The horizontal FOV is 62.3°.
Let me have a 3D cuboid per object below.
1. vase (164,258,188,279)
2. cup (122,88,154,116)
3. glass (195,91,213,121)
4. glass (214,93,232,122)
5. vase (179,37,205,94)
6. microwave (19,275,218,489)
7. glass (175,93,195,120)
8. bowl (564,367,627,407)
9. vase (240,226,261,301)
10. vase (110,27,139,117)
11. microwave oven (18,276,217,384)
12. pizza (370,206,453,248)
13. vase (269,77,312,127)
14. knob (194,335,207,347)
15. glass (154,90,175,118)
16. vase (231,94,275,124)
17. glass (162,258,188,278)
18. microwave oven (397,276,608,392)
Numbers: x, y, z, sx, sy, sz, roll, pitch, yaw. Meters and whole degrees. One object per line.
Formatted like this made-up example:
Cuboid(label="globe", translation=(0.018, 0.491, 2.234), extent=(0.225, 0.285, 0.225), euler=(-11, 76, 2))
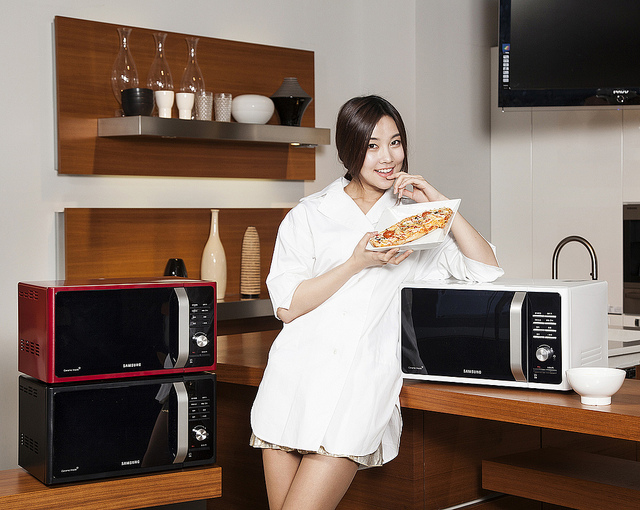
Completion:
Cuboid(label="vase", translation=(-0.836, 0.076, 3.129), extent=(0.147, 0.155, 0.149), euler=(0, 0, 25))
Cuboid(label="cup", translation=(-0.987, -0.825, 2.847), extent=(0.148, 0.121, 0.150), euler=(0, 5, 0))
Cuboid(label="glass", translation=(-0.684, -0.874, 3.129), extent=(0.071, 0.166, 0.139), euler=(2, 5, 32))
Cuboid(label="glass", translation=(-0.592, -0.901, 3.217), extent=(0.116, 0.196, 0.131), euler=(-3, 5, -30))
Cuboid(label="vase", translation=(-0.760, -1.121, 3.116), extent=(0.129, 0.363, 0.168), euler=(-2, 4, -14))
Cuboid(label="microwave", translation=(-0.475, 0.283, 1.361), extent=(0.385, 0.472, 0.270), euler=(0, 7, -18))
Cuboid(label="glass", translation=(-0.778, -0.855, 3.038), extent=(0.090, 0.139, 0.056), euler=(-3, 5, -23))
Cuboid(label="bowl", translation=(0.626, 0.298, 1.200), extent=(0.122, 0.075, 0.128), euler=(-1, -4, 0))
Cuboid(label="vase", translation=(-0.456, 0.046, 3.395), extent=(0.118, 0.446, 0.118), euler=(-2, 4, -10))
Cuboid(label="vase", translation=(-1.106, -1.014, 2.960), extent=(0.145, 0.513, 0.197), euler=(-3, 5, -22))
Cuboid(label="microwave oven", translation=(-0.477, 0.157, 1.251), extent=(0.382, 0.226, 0.240), euler=(0, -1, -37))
Cuboid(label="pizza", translation=(0.248, -0.073, 1.378), extent=(0.234, 0.097, 0.135), euler=(-3, 5, -28))
Cuboid(label="vase", translation=(-0.198, -0.977, 3.414), extent=(0.252, 0.300, 0.272), euler=(1, 3, 1))
Cuboid(label="knob", translation=(-0.303, 0.214, 1.325), extent=(0.027, 0.029, 0.008), euler=(6, 7, -36))
Cuboid(label="glass", translation=(-0.888, -0.857, 2.995), extent=(0.099, 0.151, 0.098), euler=(-4, 5, -32))
Cuboid(label="vase", translation=(-0.425, -0.869, 3.271), extent=(0.191, 0.141, 0.199), euler=(5, 10, 34))
Cuboid(label="glass", translation=(-0.841, 0.073, 3.028), extent=(0.121, 0.128, 0.106), euler=(0, 1, 21))
Cuboid(label="microwave oven", translation=(0.503, 0.208, 1.414), extent=(0.589, 0.276, 0.254), euler=(-1, 4, 7))
